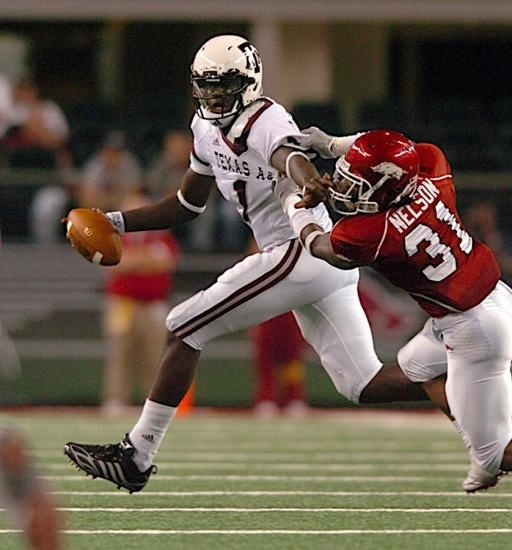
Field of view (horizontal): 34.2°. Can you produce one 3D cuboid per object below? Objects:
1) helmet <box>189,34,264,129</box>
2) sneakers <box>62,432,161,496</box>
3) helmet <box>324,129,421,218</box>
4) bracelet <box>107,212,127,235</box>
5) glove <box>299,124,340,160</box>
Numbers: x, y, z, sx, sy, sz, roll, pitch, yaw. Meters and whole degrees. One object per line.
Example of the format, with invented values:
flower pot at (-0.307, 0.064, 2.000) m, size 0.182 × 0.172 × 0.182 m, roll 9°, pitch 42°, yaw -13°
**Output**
helmet at (-0.098, -0.723, 3.102) m, size 0.246 × 0.342 × 0.288 m, roll 7°, pitch 21°, yaw 26°
sneakers at (-0.567, 0.700, 3.119) m, size 0.343 × 0.150 × 0.101 m, roll 33°, pitch -26°, yaw -18°
helmet at (0.358, -0.347, 2.798) m, size 0.386 × 0.225 × 0.272 m, roll -17°, pitch 32°, yaw -33°
bracelet at (-0.573, -0.219, 3.478) m, size 0.117 × 0.077 × 0.096 m, roll -2°, pitch 4°, yaw 1°
glove at (0.225, -0.463, 2.917) m, size 0.142 × 0.053 × 0.081 m, roll 23°, pitch 20°, yaw -34°
